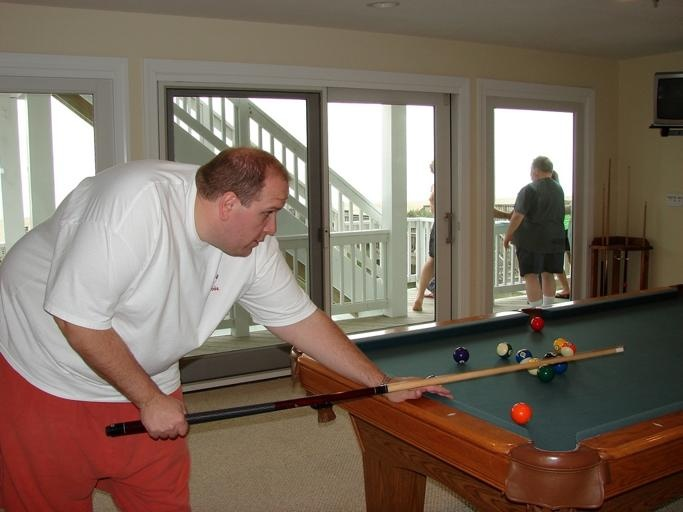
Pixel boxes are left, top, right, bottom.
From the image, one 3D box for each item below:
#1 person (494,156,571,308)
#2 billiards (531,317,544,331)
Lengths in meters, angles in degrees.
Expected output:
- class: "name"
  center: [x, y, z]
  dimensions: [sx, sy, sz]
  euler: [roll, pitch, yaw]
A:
- class: "person"
  center: [1.788, -0.169, 5.374]
  dimensions: [0.698, 1.761, 0.700]
  euler: [0, 2, -13]
- class: "billiards"
  center: [0.862, 0.291, 2.423]
  dimensions: [0.056, 0.066, 0.057]
  euler: [9, 27, 17]
